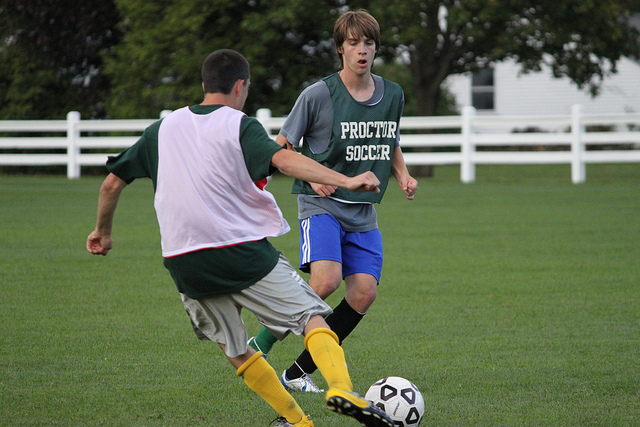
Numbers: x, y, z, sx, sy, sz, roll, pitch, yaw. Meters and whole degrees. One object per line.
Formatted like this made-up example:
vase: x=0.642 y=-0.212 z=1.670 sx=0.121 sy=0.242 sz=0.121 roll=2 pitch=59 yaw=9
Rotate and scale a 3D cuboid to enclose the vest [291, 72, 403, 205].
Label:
vest: x=0.414 y=-0.892 z=13.978 sx=0.965 sy=1.307 sz=0.712 roll=4 pitch=13 yaw=-9
